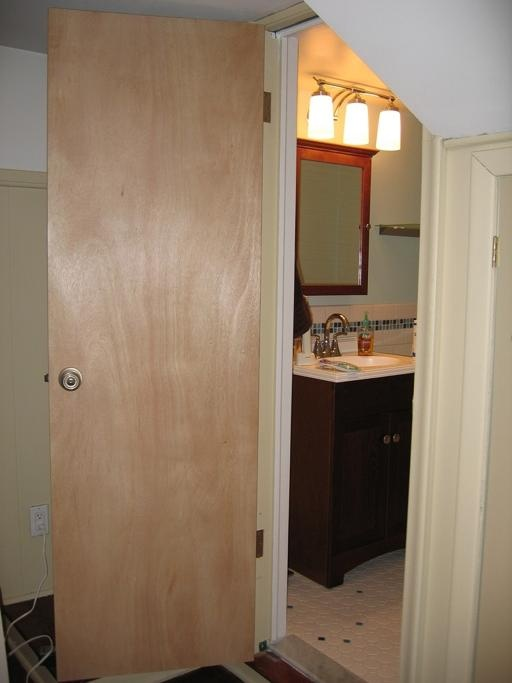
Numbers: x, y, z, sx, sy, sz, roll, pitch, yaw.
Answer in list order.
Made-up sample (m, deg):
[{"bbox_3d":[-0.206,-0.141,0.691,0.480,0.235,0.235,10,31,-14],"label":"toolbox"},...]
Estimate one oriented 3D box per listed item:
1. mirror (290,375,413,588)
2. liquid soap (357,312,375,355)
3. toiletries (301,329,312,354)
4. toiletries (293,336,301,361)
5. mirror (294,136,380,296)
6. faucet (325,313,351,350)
[{"bbox_3d":[0.436,0.587,2.548,0.579,0.891,0.293,-1,3,-23],"label":"mirror"},{"bbox_3d":[0.574,-0.040,3.065,0.073,0.216,0.177,1,3,12],"label":"liquid soap"},{"bbox_3d":[0.220,0.009,2.558,0.036,0.101,0.015,0,3,-12],"label":"toiletries"},{"bbox_3d":[0.181,0.035,2.580,0.024,0.108,0.058,-1,3,-24],"label":"toiletries"},{"bbox_3d":[0.381,-0.614,2.955,0.440,0.785,0.080,2,1,-5],"label":"mirror"},{"bbox_3d":[0.416,-0.050,2.974,0.118,0.188,0.323,1,3,11],"label":"faucet"}]
